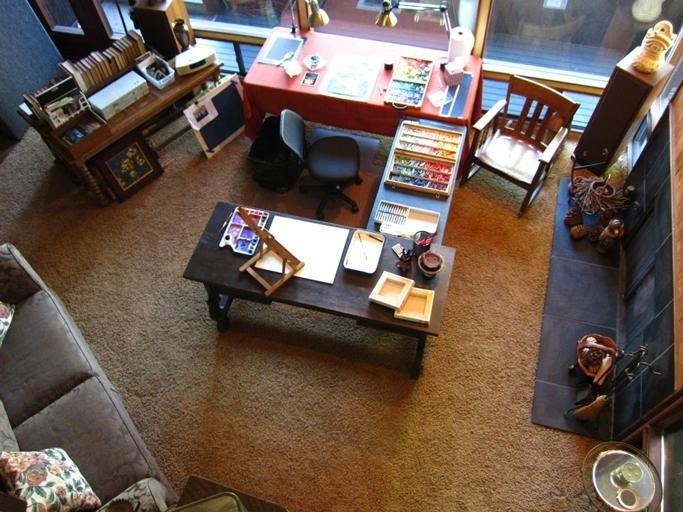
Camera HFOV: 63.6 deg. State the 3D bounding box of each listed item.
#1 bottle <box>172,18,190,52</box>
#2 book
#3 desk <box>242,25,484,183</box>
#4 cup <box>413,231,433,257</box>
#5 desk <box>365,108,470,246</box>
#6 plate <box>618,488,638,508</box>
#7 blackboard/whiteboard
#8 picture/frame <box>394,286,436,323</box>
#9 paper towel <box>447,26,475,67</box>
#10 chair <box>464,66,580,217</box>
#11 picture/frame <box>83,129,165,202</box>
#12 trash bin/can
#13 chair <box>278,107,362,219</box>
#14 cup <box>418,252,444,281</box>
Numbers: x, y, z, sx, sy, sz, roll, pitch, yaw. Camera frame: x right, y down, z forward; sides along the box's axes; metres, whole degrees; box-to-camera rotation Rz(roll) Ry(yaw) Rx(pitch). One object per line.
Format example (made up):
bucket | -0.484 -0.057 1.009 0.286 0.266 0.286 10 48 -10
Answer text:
bottle | -1.801 -2.481 6.167 0.144 0.335 0.187 -7 50 -6
book | -2.677 -1.864 5.831 0.467 0.430 1.311 24 54 19
desk | 0.225 -1.940 6.329 2.846 1.000 1.445 17 72 19
cup | 0.680 -0.106 4.727 0.135 0.216 0.219 17 60 8
desk | 0.759 -0.721 5.422 0.787 0.357 1.273 18 71 14
plate | 2.087 1.767 4.007 0.134 0.053 0.139 -7 50 -7
blackboard/whiteboard | -1.339 -1.570 6.283 0.737 0.211 0.746 -33 75 13
picture/frame | 0.609 0.407 4.571 0.300 0.114 0.298 12 51 9
paper towel | 1.184 -2.133 5.724 0.346 0.380 0.339 4 78 2
chair | 1.772 -1.092 5.598 0.786 1.072 0.917 34 58 22
picture/frame | -2.302 -0.941 6.026 0.685 0.157 0.740 -29 69 0
trash bin/can | -0.673 -1.082 5.999 0.575 0.564 0.799 2 68 10
chair | -0.214 -0.979 5.706 0.804 1.029 0.751 6 51 9
cup | 0.748 0.078 4.671 0.208 0.154 0.187 5 50 4
